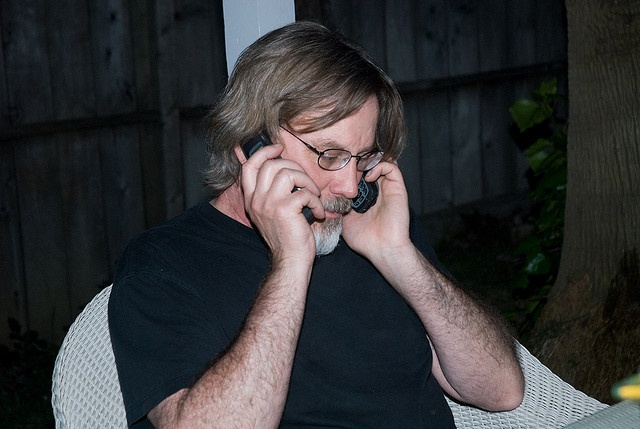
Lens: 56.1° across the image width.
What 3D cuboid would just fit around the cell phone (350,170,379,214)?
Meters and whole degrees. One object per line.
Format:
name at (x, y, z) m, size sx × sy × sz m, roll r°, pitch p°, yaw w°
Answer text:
cell phone at (0.247, -0.113, 3.302) m, size 0.058 × 0.207 × 0.139 m, roll 33°, pitch -32°, yaw -31°
